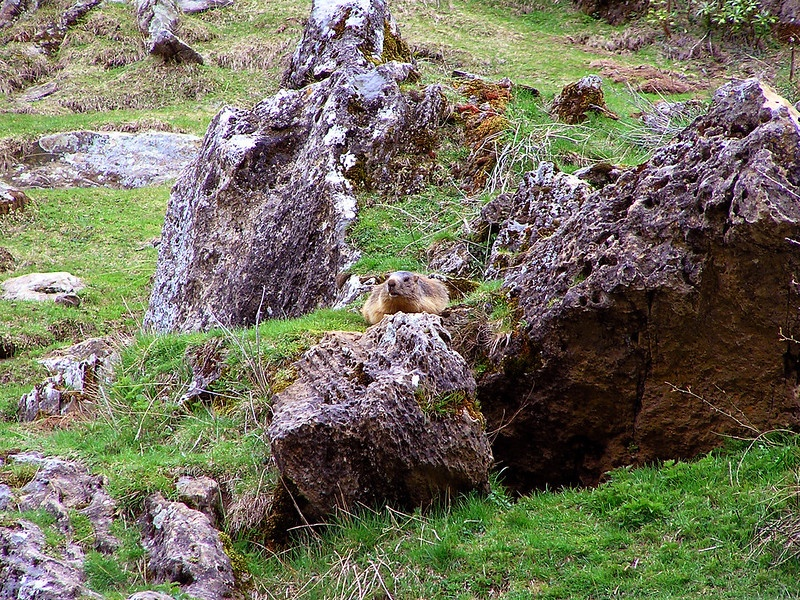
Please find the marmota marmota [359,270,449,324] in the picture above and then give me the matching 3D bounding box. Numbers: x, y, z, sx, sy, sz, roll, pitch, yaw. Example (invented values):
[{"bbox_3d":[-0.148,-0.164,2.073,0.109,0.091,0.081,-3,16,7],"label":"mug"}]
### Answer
[{"bbox_3d":[0.090,0.013,21.627,1.235,0.952,0.794,8,13,-3],"label":"marmota marmota"}]
